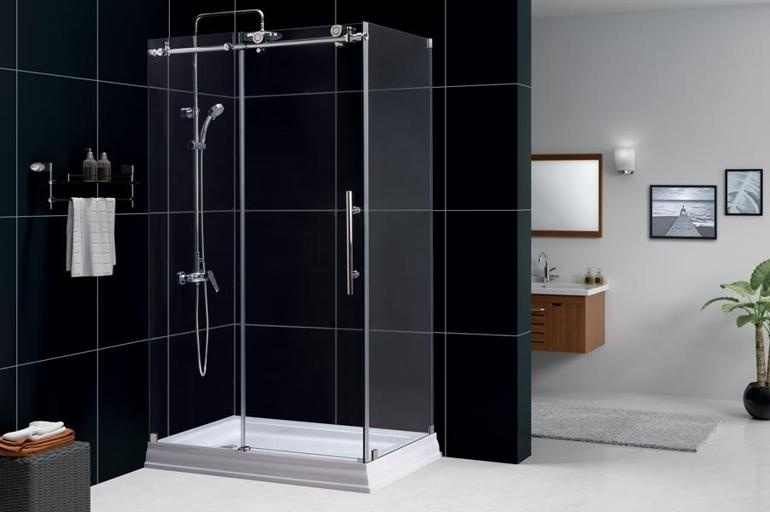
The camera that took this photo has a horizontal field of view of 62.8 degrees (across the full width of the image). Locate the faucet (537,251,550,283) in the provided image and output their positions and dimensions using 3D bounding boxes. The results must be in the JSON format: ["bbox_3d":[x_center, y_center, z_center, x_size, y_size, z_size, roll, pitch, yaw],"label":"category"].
[{"bbox_3d":[1.840,0.126,7.239,0.140,0.335,0.262,1,3,5],"label":"faucet"}]

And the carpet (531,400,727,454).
[{"bbox_3d":[2.172,1.552,5.822,1.671,0.061,1.173,2,3,19],"label":"carpet"}]

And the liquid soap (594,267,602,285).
[{"bbox_3d":[2.376,0.229,7.042,0.082,0.172,0.162,2,3,20],"label":"liquid soap"}]

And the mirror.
[{"bbox_3d":[2.121,-0.702,7.210,1.075,1.067,0.044,1,1,21],"label":"mirror"}]

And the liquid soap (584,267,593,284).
[{"bbox_3d":[2.275,0.228,7.043,0.098,0.166,0.231,2,3,17],"label":"liquid soap"}]

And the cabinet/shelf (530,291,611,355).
[{"bbox_3d":[2.002,0.692,6.802,0.911,0.658,0.644,-1,-2,28],"label":"cabinet/shelf"}]

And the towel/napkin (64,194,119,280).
[{"bbox_3d":[-1.982,-0.130,4.237,0.296,0.516,0.145,-1,4,-27],"label":"towel/napkin"}]

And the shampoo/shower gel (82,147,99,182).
[{"bbox_3d":[-2.019,-0.618,4.312,0.093,0.235,0.212,-1,4,-26],"label":"shampoo/shower gel"}]
